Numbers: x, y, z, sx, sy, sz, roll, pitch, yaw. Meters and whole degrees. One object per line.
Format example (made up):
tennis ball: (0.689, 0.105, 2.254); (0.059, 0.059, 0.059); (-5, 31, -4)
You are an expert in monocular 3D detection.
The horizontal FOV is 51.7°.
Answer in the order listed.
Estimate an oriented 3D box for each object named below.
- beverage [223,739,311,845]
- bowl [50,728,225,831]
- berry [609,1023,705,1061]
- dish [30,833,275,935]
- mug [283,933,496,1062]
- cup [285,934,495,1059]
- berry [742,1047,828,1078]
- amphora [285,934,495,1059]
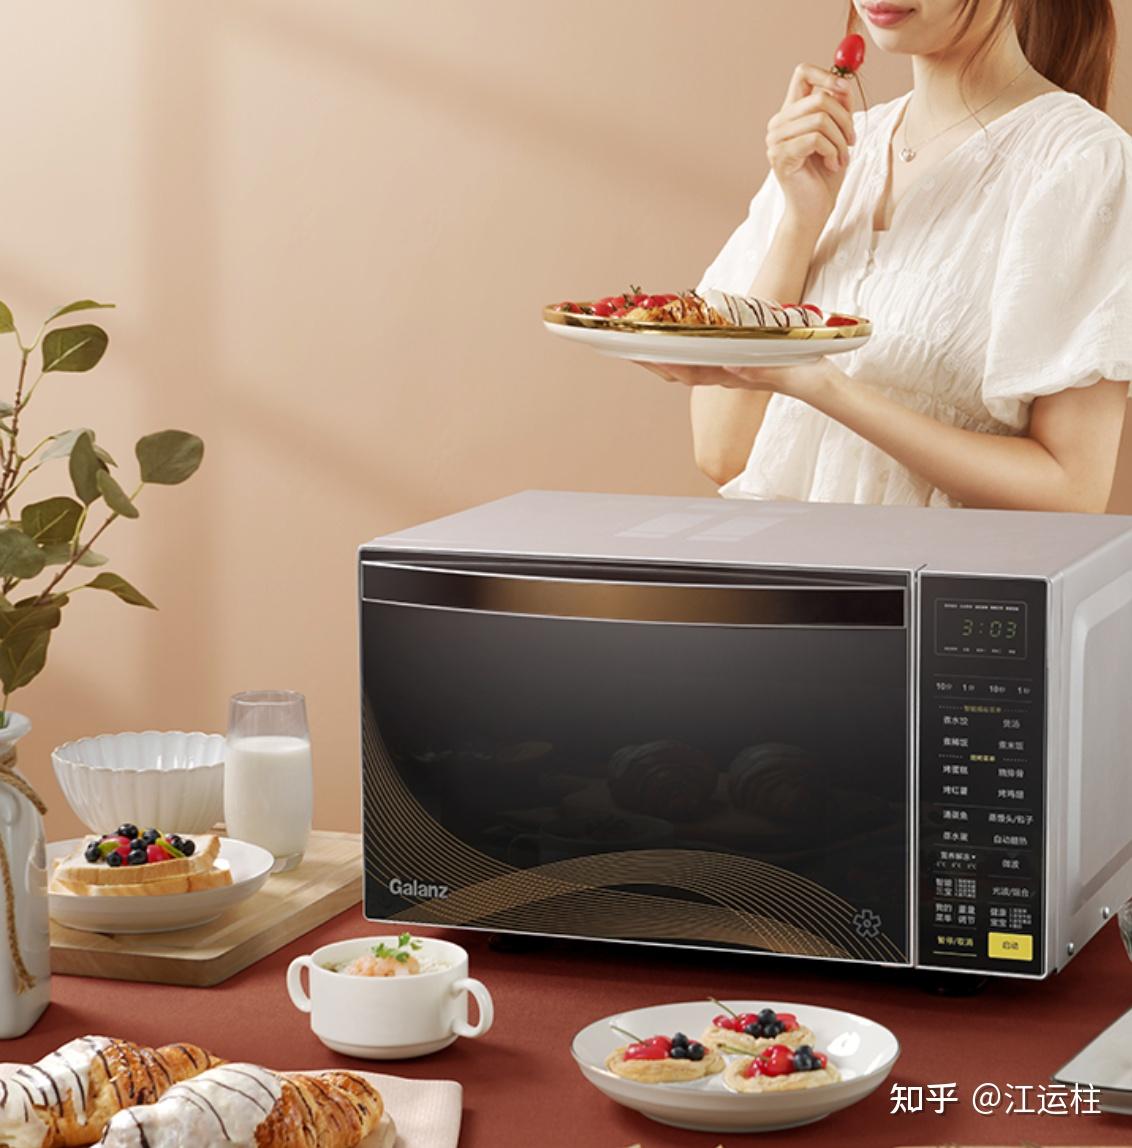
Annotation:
beverage: (-0.267, 0.197, 1.005); (0.097, 0.101, 0.082); (-1, -11, -2)
bowl: (-0.384, 0.197, 1.056); (0.142, 0.089, 0.150); (0, 0, 0)
berry: (0.056, 0.241, 0.603); (0.028, 0.008, 0.017); (2, 1, -9)
dish: (-0.302, 0.232, 0.867); (0.160, 0.048, 0.162); (0, 0, -12)
mug: (-0.109, 0.235, 0.683); (0.104, 0.036, 0.075); (3, 3, 36)
cup: (-0.088, 0.253, 0.682); (0.117, 0.037, 0.080); (-7, -13, 27)
berry: (0.106, 0.241, 0.578); (0.023, 0.007, 0.022); (-2, -3, -29)
amphora: (-0.092, 0.247, 0.685); (0.126, 0.040, 0.086); (0, 1, 28)
